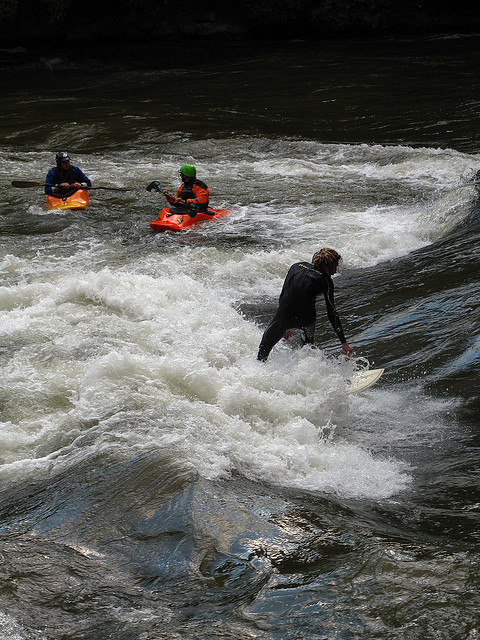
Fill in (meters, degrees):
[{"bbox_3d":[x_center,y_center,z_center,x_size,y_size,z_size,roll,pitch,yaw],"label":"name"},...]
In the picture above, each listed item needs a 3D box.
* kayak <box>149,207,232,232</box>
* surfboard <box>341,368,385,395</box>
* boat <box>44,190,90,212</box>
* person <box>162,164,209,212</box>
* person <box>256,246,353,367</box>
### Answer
[{"bbox_3d":[-0.728,-1.512,12.225,1.093,0.437,1.083,-10,16,-33],"label":"kayak"},{"bbox_3d":[1.137,0.539,7.296,0.532,0.070,0.157,-21,51,-14],"label":"surfboard"},{"bbox_3d":[-2.784,-1.896,12.995,0.653,0.261,0.506,-4,20,-13],"label":"boat"},{"bbox_3d":[-0.786,-2.002,12.342,0.641,0.677,0.659,-6,22,-17],"label":"person"},{"bbox_3d":[0.597,-0.148,7.612,0.937,1.289,1.273,3,21,6],"label":"person"}]
